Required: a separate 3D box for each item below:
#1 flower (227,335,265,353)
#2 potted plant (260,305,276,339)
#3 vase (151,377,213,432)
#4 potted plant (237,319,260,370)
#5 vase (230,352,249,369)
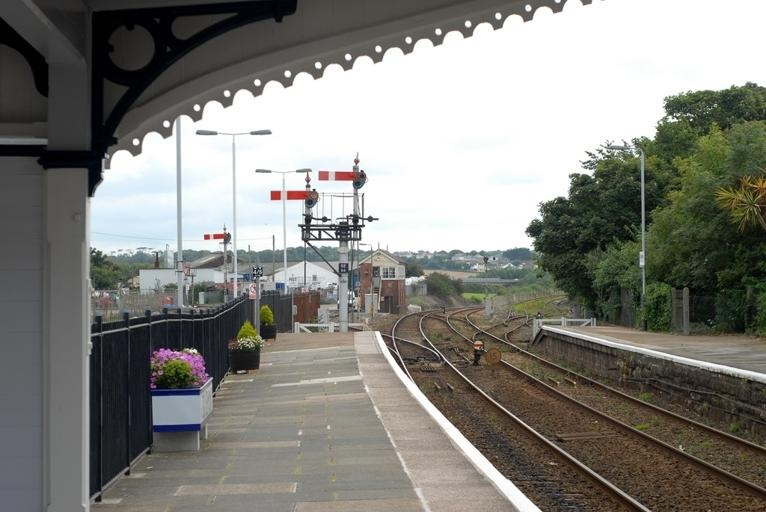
[{"bbox_3d":[-3.893,2.505,21.489,0.547,0.331,0.524,-1,4,8],"label":"flower"},{"bbox_3d":[-4.877,2.817,31.285,0.806,1.365,0.881,-1,-2,35],"label":"potted plant"},{"bbox_3d":[-3.379,2.577,12.903,1.097,0.989,0.614,1,-2,6],"label":"vase"},{"bbox_3d":[-3.885,2.564,21.731,0.801,1.406,0.827,-9,-9,35],"label":"potted plant"},{"bbox_3d":[-4.068,2.934,21.355,0.404,0.566,0.564,1,-6,0],"label":"vase"}]
